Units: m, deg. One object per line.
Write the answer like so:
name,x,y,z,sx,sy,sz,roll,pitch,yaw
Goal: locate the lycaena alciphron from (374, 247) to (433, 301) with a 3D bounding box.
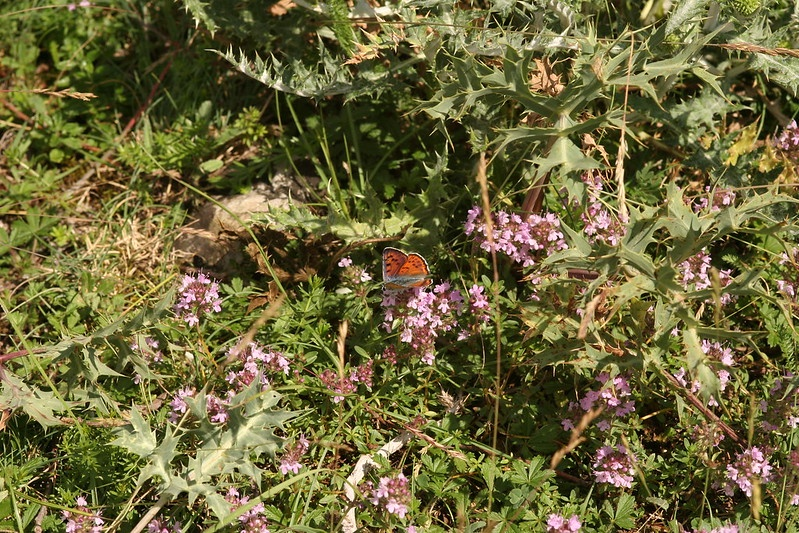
lycaena alciphron,0.042,0.017,4.632,0.305,0.392,0.207,9,63,7
